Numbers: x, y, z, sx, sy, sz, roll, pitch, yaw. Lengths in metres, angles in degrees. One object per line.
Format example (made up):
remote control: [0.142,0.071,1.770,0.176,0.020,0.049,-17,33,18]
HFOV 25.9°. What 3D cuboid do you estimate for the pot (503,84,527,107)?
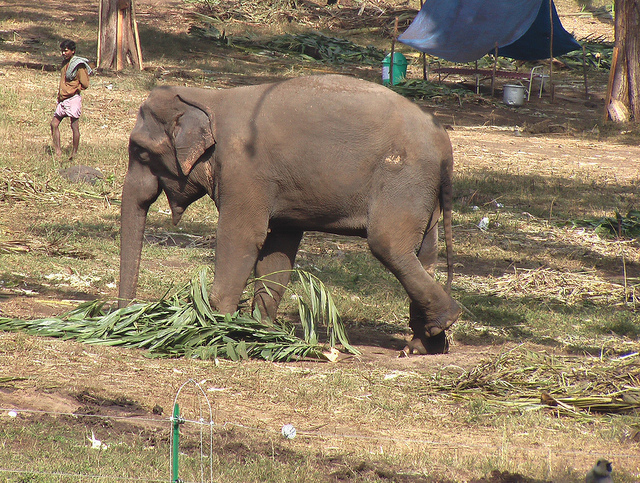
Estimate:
pot: [4.301,-3.204,30.691,0.525,0.409,0.489,2,2,0]

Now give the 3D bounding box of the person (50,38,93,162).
person: [-3.987,-2.268,22.495,0.702,1.919,0.581,-2,14,-37]
